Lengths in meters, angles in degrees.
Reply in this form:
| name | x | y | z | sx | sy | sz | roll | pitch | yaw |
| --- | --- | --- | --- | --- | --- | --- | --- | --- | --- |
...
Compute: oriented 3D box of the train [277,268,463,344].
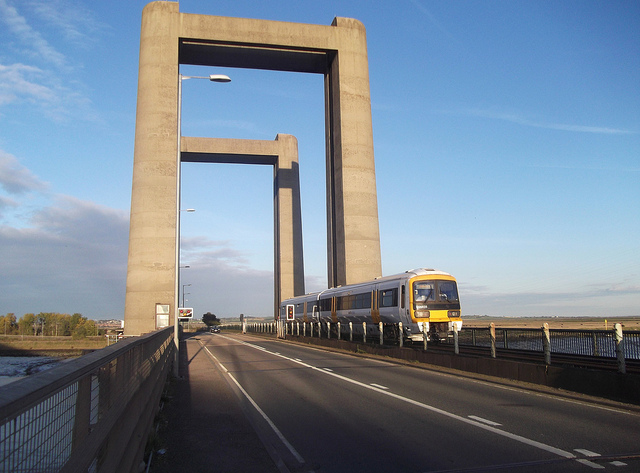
| name | x | y | z | sx | sy | sz | roll | pitch | yaw |
| --- | --- | --- | --- | --- | --- | --- | --- | --- | --- |
| train | 2.321 | 5.671 | 35.575 | 2.987 | 3.986 | 19.892 | 7 | -13 | -26 |
